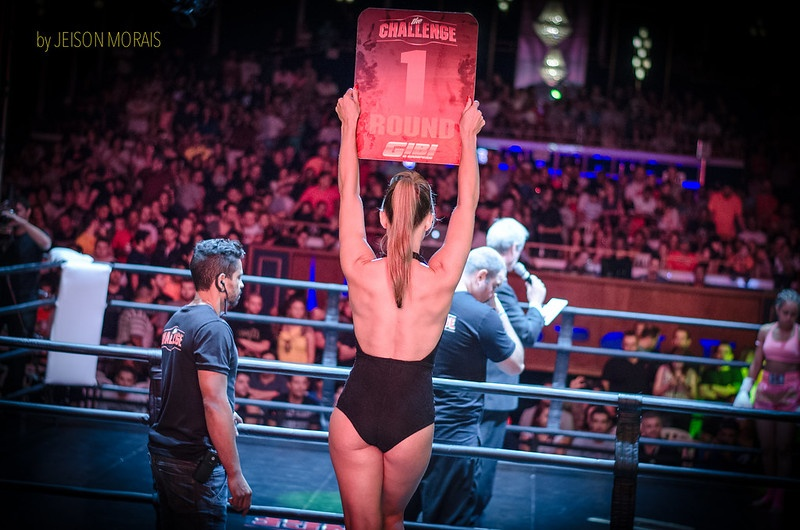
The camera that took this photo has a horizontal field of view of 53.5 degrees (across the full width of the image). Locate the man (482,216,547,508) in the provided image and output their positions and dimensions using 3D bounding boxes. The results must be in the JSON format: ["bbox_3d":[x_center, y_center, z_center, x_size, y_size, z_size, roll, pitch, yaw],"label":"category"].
[{"bbox_3d":[1.095,1.355,8.958,1.017,3.719,1.039,4,28,12],"label":"man"}]

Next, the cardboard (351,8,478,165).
[{"bbox_3d":[0.131,-1.599,7.075,1.257,1.702,0.013,2,4,2],"label":"cardboard"}]
